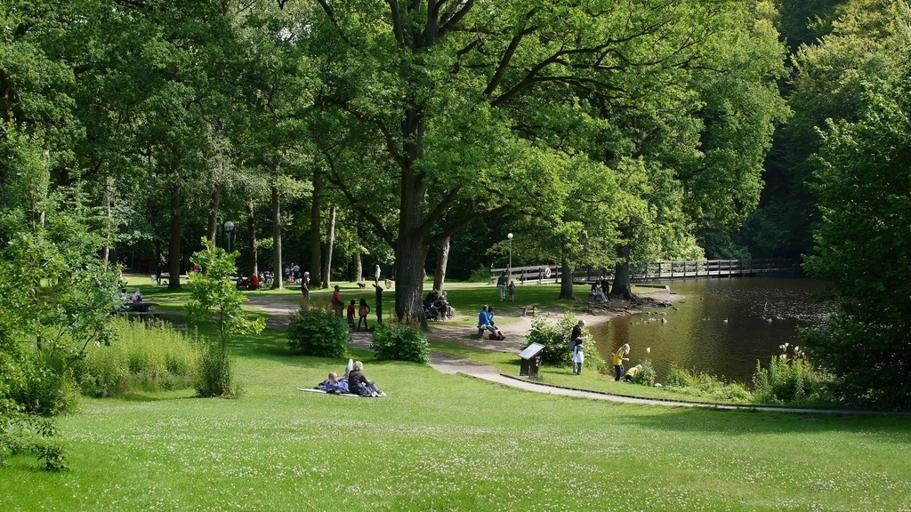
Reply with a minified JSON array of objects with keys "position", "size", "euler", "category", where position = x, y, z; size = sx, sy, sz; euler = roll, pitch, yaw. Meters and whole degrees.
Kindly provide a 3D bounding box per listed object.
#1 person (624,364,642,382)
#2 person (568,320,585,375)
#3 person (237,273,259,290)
[{"position":[9.955,6.605,64.289],"size":[0.575,0.361,1.196],"euler":[12,41,40],"category":"person"},{"position":[6.784,5.208,64.900],"size":[0.768,3.024,1.486],"euler":[1,-4,3],"category":"person"},{"position":[-16.324,2.016,89.116],"size":[1.320,1.034,2.029],"euler":[2,-5,-36],"category":"person"}]
